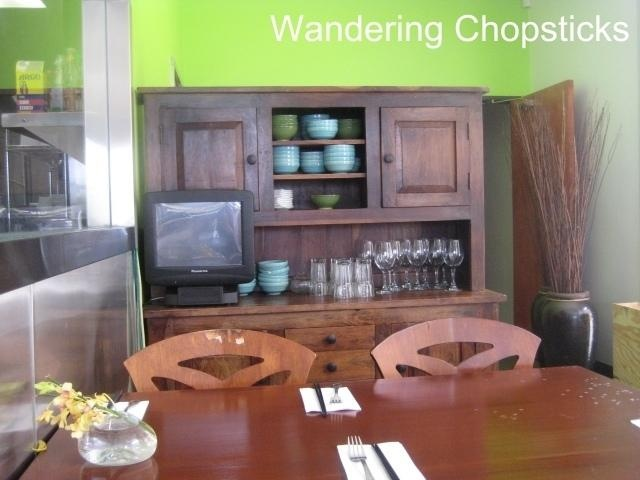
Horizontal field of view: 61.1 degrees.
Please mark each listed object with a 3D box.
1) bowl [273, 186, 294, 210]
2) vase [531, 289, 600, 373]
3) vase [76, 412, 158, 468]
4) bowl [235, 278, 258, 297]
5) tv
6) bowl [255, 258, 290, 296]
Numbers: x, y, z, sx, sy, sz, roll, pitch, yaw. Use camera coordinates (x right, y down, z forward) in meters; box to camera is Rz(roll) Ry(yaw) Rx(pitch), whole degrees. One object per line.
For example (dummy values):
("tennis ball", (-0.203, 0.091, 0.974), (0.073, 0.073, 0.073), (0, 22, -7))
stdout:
("bowl", (-0.213, -0.240, 3.140), (0.114, 0.115, 0.115), (0, 0, 0))
("vase", (1.565, 0.595, 3.482), (0.350, 0.506, 0.352), (1, 7, 2))
("vase", (-0.541, 0.536, 1.434), (0.151, 0.077, 0.153), (4, 3, 43))
("bowl", (-0.430, 0.268, 3.174), (0.110, 0.067, 0.111), (0, 6, 0))
("tv", (-0.646, 0.028, 2.889), (0.589, 0.603, 0.323), (-1, -6, -5))
("bowl", (-0.279, 0.223, 3.196), (0.180, 0.193, 0.133), (-2, 6, -8))
